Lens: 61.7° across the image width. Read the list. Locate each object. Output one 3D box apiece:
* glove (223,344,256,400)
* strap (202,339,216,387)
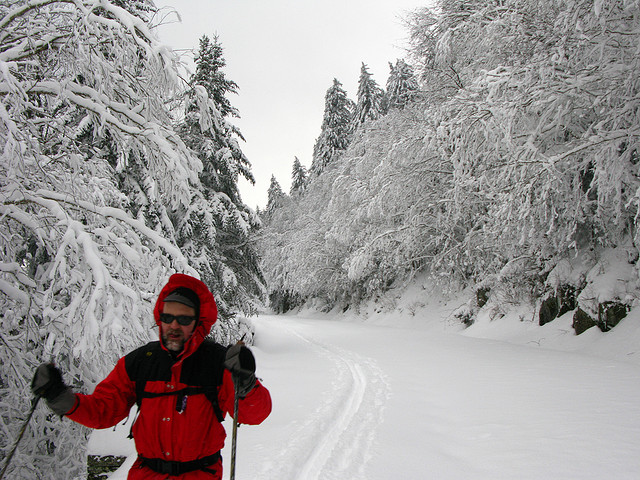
[{"bbox_3d":[-0.851,1.377,5.763,0.343,0.567,0.221,9,3,16],"label":"glove"},{"bbox_3d":[-1.234,1.345,5.948,0.137,0.455,0.292,-5,7,3],"label":"strap"}]
